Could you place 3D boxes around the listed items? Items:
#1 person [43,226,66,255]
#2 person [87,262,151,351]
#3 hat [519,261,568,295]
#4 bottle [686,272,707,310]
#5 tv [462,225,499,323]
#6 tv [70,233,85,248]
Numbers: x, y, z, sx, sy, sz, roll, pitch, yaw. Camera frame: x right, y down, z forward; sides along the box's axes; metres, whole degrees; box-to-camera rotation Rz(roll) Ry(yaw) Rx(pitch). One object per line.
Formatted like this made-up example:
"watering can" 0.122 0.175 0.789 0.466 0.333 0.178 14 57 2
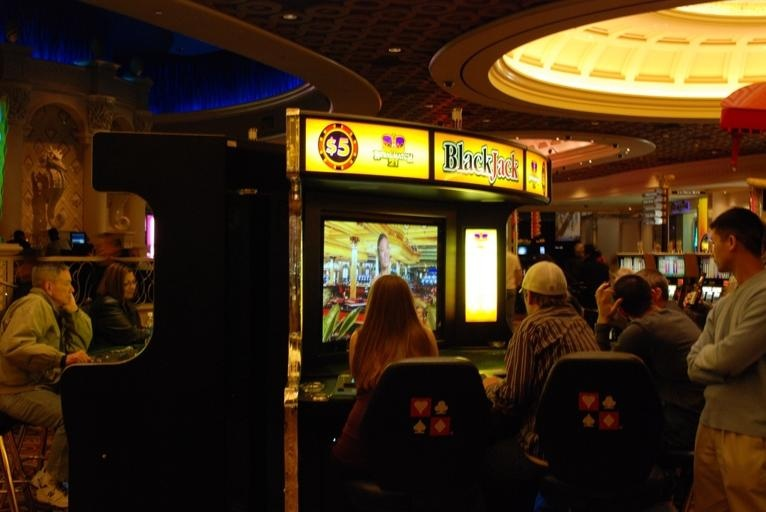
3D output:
"person" -4.591 -0.215 9.239 0.239 0.338 1.028 1 3 -27
"person" -2.231 0.423 5.470 0.369 0.706 0.362 1 2 -20
"hat" 1.061 0.123 4.367 0.293 0.186 0.363 -3 10 -7
"bottle" 4.112 0.476 8.681 0.149 0.284 0.270 8 39 31
"tv" 0.819 0.186 5.541 0.288 0.774 0.032 1 6 19
"tv" -4.777 -0.241 10.261 0.120 0.215 0.237 -4 -3 25
